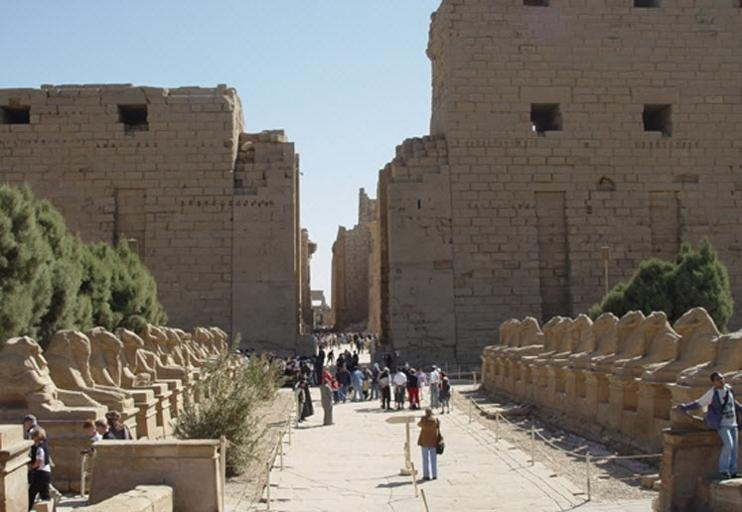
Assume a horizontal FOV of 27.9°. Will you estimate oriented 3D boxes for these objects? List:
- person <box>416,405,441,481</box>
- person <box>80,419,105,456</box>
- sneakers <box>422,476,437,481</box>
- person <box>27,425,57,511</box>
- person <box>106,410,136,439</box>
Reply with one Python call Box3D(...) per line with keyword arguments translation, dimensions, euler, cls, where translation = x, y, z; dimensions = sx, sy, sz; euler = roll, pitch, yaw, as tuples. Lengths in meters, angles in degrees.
Box3D(translation=(1.591, 5.000, 39.816), dimensions=(0.617, 1.890, 0.624), euler=(-2, -4, 2), cls="person")
Box3D(translation=(-7.027, 4.603, 37.943), dimensions=(0.556, 0.863, 1.058), euler=(-1, -4, -11), cls="person")
Box3D(translation=(1.566, 5.872, 39.588), dimensions=(0.362, 0.154, 0.131), euler=(4, -6, 3), cls="sneakers")
Box3D(translation=(-8.275, 5.299, 37.398), dimensions=(0.529, 2.060, 0.550), euler=(-1, -4, -13), cls="person")
Box3D(translation=(-6.497, 4.355, 38.750), dimensions=(0.627, 0.796, 0.469), euler=(-9, 12, 7), cls="person")
